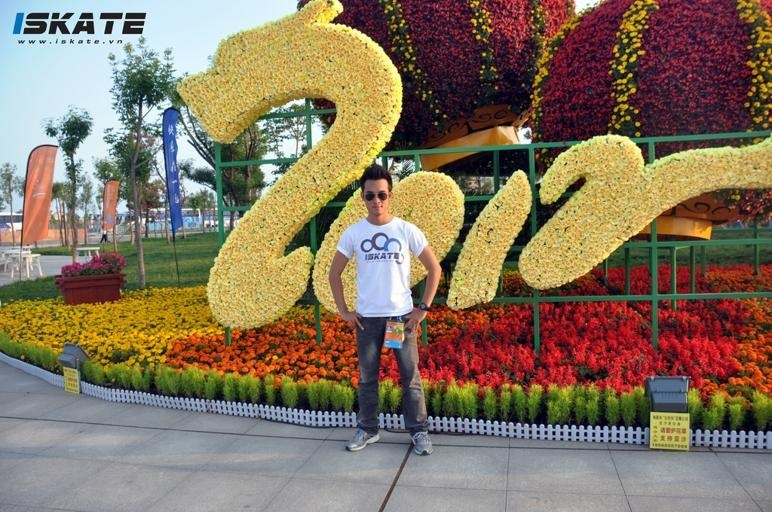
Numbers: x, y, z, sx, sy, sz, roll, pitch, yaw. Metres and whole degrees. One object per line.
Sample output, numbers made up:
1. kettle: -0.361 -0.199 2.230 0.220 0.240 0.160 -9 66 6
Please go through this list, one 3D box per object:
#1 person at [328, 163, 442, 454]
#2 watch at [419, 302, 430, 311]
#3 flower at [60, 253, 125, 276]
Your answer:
1. person: -0.022 0.641 8.136 1.264 3.427 0.511 1 -1 -6
2. watch: 0.445 0.586 8.042 0.112 0.079 0.110 13 1 13
3. flower: -6.234 0.172 14.605 1.178 0.415 0.544 2 0 -31
